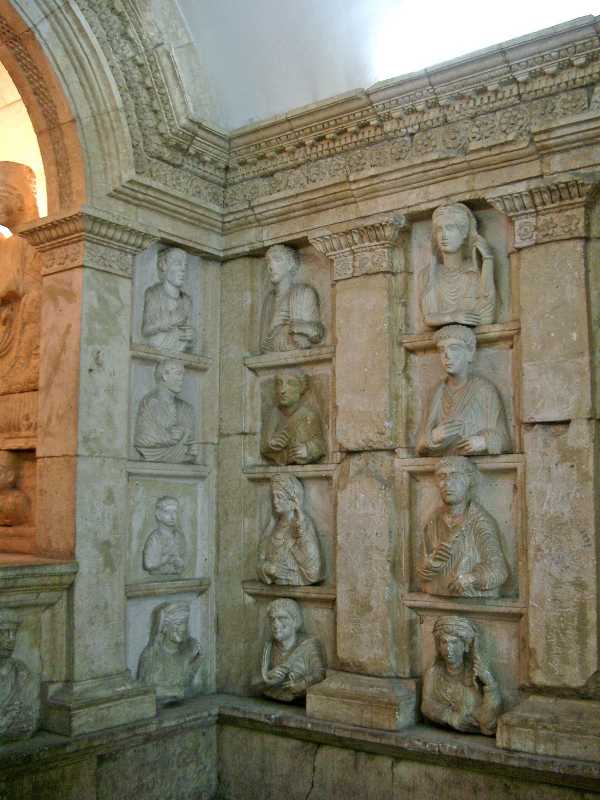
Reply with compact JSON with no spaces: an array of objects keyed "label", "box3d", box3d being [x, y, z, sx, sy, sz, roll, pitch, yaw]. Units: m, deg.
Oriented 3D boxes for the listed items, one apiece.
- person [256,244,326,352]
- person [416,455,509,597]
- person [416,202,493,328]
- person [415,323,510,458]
[{"label":"person","box3d":[-0.102,-0.676,5.356,0.494,0.714,0.180,-9,-15,36]},{"label":"person","box3d":[0.812,0.682,4.344,0.279,0.731,0.490,11,-17,-43]},{"label":"person","box3d":[0.832,-0.741,4.583,0.477,0.711,0.193,-9,-15,36]},{"label":"person","box3d":[0.897,-0.045,4.451,0.434,0.830,0.609,13,-15,-40]}]
